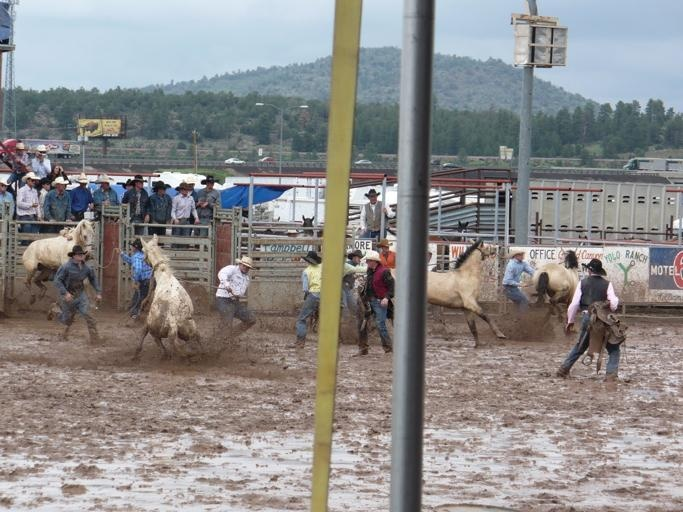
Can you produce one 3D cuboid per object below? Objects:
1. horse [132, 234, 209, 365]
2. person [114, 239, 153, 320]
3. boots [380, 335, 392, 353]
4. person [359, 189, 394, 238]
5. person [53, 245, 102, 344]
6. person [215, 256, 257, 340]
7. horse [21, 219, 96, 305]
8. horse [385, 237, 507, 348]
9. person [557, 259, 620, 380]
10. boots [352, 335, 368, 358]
[{"bbox_3d":[-3.645,0.823,34.634,1.353,2.522,2.164,0,3,-5],"label":"horse"},{"bbox_3d":[-4.718,0.491,37.874,0.640,1.868,1.253,0,2,-31],"label":"person"},{"bbox_3d":[0.946,1.847,35.516,0.207,0.378,0.616,0,3,2],"label":"boots"},{"bbox_3d":[0.865,-1.079,40.217,0.728,1.237,0.661,-1,11,-5],"label":"person"},{"bbox_3d":[-5.705,0.674,35.549,0.972,2.211,0.881,-1,11,-25],"label":"person"},{"bbox_3d":[-2.239,0.838,35.135,0.796,1.739,0.924,0,3,-2],"label":"person"},{"bbox_3d":[-6.446,0.133,37.967,2.499,1.649,0.713,-11,-4,34],"label":"horse"},{"bbox_3d":[2.424,0.549,37.906,2.473,2.391,2.361,12,13,32],"label":"horse"},{"bbox_3d":[5.111,1.256,33.896,1.270,2.474,0.913,3,-2,22],"label":"person"},{"bbox_3d":[0.424,1.843,35.542,0.255,0.497,0.344,0,3,2],"label":"boots"}]
